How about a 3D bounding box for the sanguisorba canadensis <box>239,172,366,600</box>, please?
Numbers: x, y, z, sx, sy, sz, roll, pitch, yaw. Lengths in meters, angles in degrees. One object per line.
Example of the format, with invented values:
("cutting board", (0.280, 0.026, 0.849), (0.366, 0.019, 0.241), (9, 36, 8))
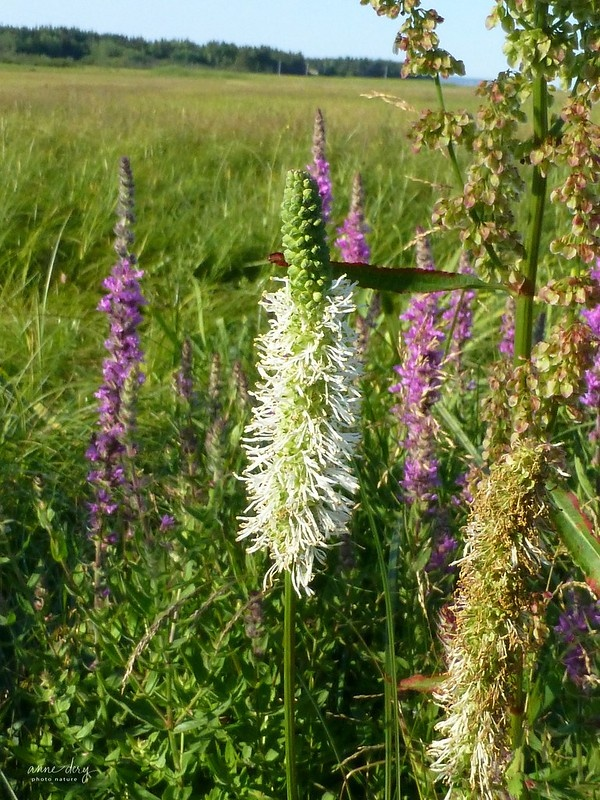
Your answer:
("sanguisorba canadensis", (0.003, -0.006, 1.808), (0.218, 0.802, 0.299), (2, 18, 2))
